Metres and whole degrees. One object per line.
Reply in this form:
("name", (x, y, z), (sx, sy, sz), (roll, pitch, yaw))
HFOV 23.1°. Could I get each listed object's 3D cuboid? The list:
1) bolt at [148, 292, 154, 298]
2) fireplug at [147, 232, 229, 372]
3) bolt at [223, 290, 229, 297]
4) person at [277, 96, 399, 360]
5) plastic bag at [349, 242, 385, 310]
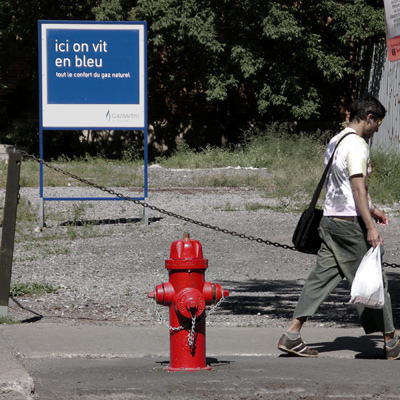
("bolt", (-0.415, 0.799, 8.325), (0.041, 0.037, 0.035), (0, 41, 1))
("fireplug", (-0.108, 0.862, 8.323), (0.642, 1.139, 0.247), (0, 6, 1))
("bolt", (0.227, 0.791, 8.373), (0.040, 0.066, 0.060), (0, 11, 6))
("person", (1.305, 0.245, 8.763), (0.983, 2.302, 0.532), (1, 6, 9))
("plastic bag", (1.469, 0.652, 8.590), (0.293, 0.580, 0.163), (1, 6, 8))
